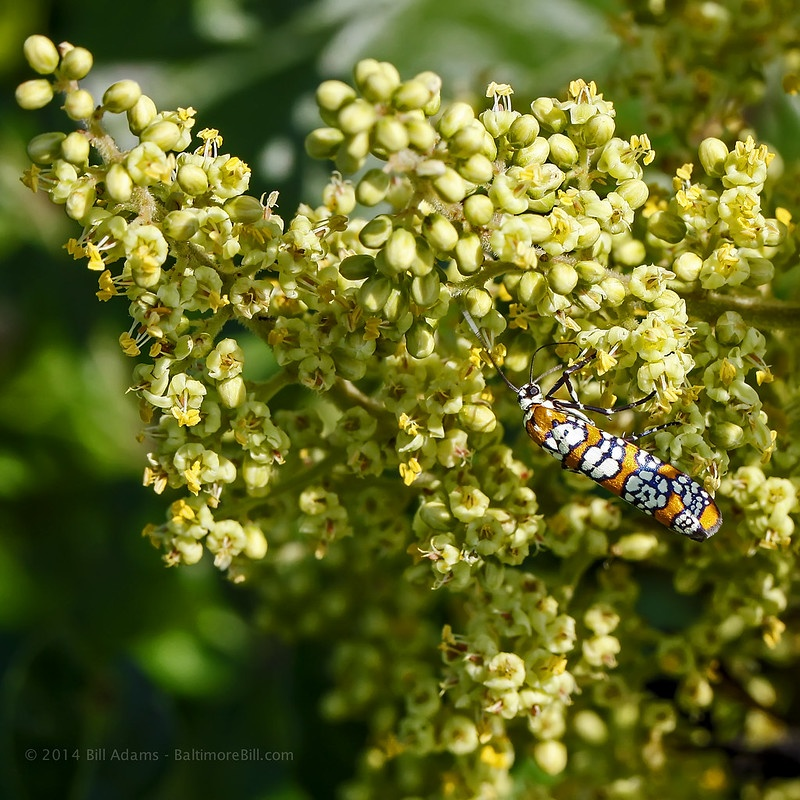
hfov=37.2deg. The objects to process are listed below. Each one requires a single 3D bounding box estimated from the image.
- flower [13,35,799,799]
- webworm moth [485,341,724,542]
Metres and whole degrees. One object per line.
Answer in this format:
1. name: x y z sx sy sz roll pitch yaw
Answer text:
1. flower: 0.045 -0.002 2.584 1.387 1.000 1.569 0 97 -6
2. webworm moth: 0.440 0.056 2.279 0.434 0.306 0.135 42 40 17
